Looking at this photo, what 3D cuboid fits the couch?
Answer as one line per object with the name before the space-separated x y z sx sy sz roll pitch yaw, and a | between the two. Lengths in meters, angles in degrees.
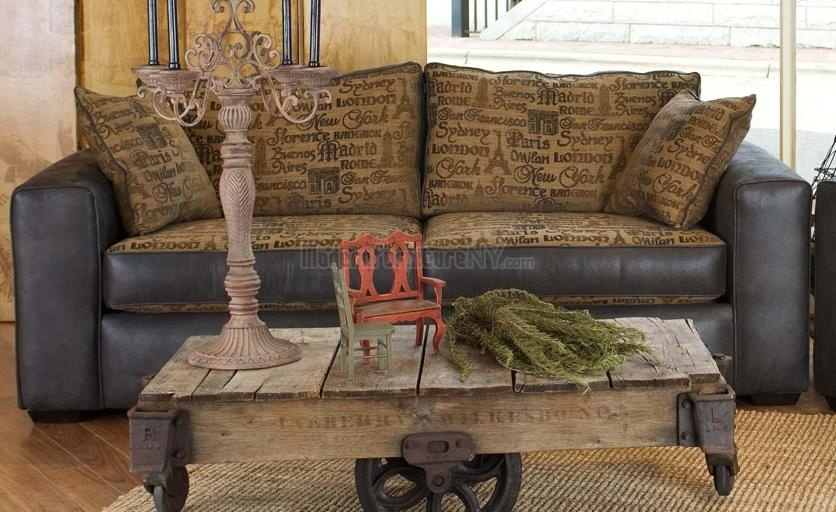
couch | -0.020 -0.072 3.744 3.115 0.956 0.948 -1 17 -6
